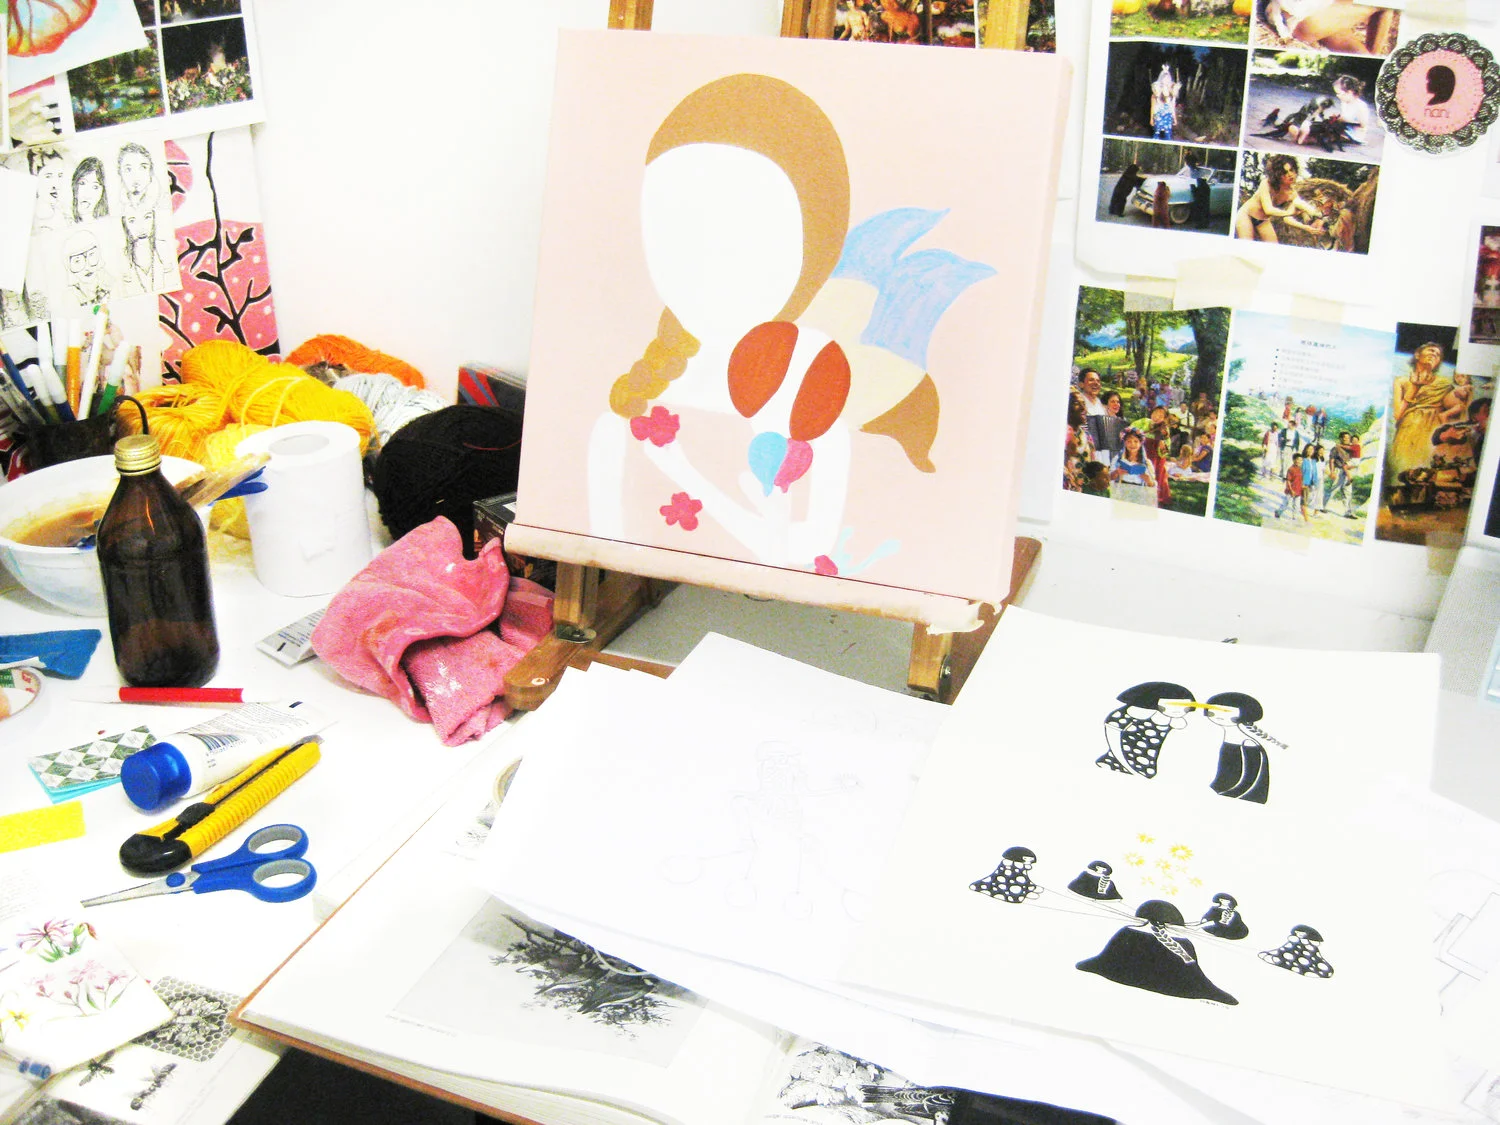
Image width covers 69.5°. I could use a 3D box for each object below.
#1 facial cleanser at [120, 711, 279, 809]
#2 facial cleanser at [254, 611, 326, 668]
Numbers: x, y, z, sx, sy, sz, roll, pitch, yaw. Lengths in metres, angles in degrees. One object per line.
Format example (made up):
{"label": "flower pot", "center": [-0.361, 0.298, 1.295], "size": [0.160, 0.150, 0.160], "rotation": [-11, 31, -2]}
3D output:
{"label": "facial cleanser", "center": [-0.428, 0.147, 0.851], "size": [0.074, 0.046, 0.124], "rotation": [27, 21, 19]}
{"label": "facial cleanser", "center": [-0.420, 0.072, 0.988], "size": [0.034, 0.015, 0.064], "rotation": [15, 33, 18]}
